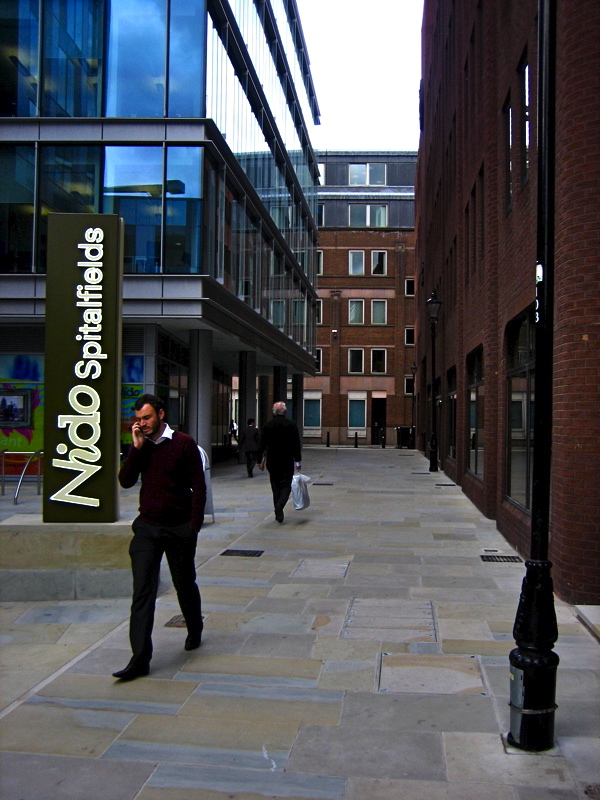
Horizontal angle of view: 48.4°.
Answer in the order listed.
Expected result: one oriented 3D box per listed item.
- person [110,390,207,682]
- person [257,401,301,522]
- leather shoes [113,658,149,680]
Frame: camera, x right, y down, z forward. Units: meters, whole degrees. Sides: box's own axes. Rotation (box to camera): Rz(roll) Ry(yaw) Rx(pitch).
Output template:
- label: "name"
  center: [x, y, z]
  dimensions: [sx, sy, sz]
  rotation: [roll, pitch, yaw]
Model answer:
- label: "person"
  center: [-0.933, 0.881, 4.509]
  dimensions: [0.569, 1.480, 0.864]
  rotation: [-1, 0, -10]
- label: "person"
  center: [-0.371, 1.132, 12.033]
  dimensions: [0.692, 1.872, 1.450]
  rotation: [-1, 0, -4]
- label: "leather shoes"
  center: [-1.030, 1.667, 4.146]
  dimensions: [0.251, 0.146, 0.090]
  rotation: [6, -5, -30]
